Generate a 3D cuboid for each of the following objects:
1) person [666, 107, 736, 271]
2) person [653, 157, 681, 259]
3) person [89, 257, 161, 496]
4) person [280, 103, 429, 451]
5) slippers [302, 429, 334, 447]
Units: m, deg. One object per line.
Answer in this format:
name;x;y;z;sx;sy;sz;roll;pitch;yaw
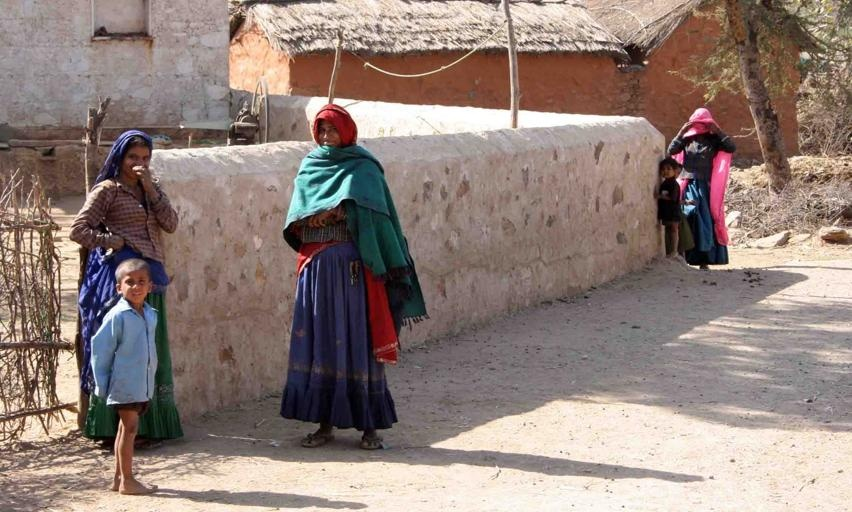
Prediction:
person;3.577;-0.860;13.988;0.891;1.971;0.704;-1;-3;5
person;3.121;-0.625;13.704;0.305;1.273;0.341;-3;2;13
person;-2.607;1.033;9.225;0.543;1.525;0.390;-3;2;-9
person;-0.746;0.193;9.815;1.247;3.167;0.329;-3;2;4
slippers;-1.002;1.682;9.875;0.273;0.089;0.136;-1;2;-30
